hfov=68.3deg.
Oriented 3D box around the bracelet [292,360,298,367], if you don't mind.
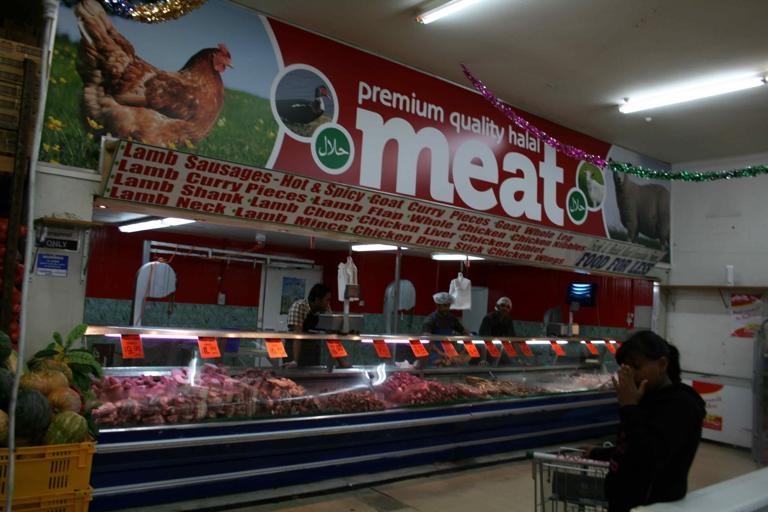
[{"bbox_3d":[-0.857,1.025,5.419,0.058,0.042,0.027,9,15,-9],"label":"bracelet"}]
